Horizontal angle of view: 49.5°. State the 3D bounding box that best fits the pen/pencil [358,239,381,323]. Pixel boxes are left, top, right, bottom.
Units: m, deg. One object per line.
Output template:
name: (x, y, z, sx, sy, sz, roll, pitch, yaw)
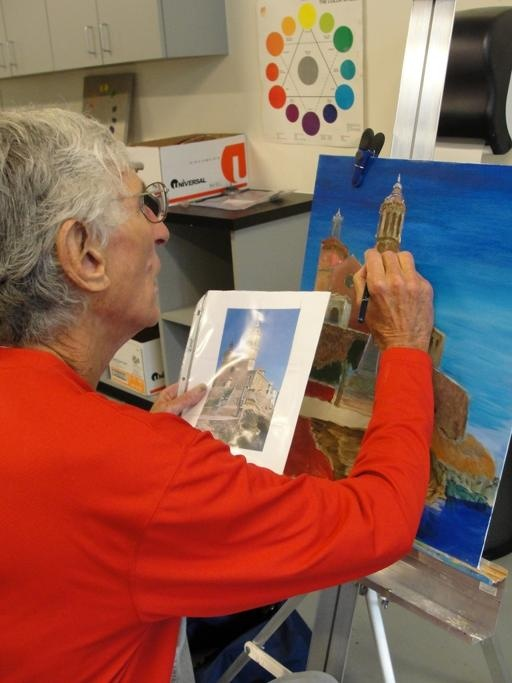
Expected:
pen/pencil: (0.187, -0.096, 0.908, 0.026, 0.170, 0.025, 6, -18, 13)
